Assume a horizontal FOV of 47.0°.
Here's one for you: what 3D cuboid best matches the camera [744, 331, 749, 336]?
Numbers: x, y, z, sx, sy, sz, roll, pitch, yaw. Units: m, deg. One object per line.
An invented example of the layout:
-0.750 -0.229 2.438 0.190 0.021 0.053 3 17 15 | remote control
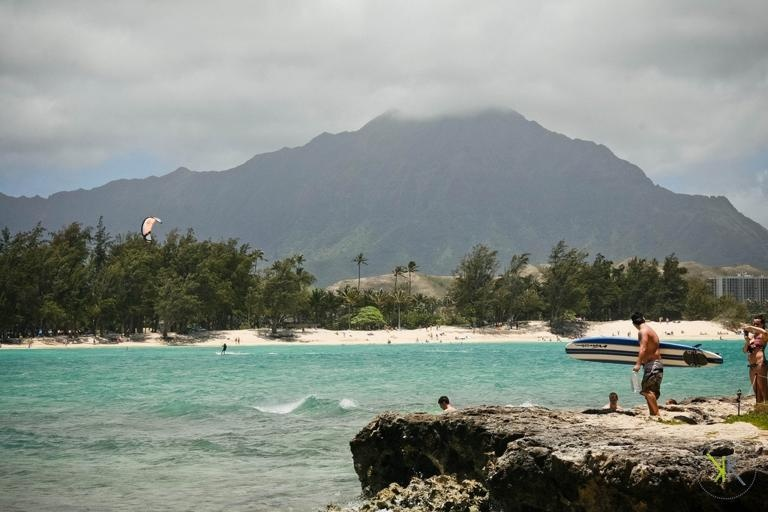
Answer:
20.201 4.366 49.094 0.184 0.229 0.178 -3 -38 11 | camera
